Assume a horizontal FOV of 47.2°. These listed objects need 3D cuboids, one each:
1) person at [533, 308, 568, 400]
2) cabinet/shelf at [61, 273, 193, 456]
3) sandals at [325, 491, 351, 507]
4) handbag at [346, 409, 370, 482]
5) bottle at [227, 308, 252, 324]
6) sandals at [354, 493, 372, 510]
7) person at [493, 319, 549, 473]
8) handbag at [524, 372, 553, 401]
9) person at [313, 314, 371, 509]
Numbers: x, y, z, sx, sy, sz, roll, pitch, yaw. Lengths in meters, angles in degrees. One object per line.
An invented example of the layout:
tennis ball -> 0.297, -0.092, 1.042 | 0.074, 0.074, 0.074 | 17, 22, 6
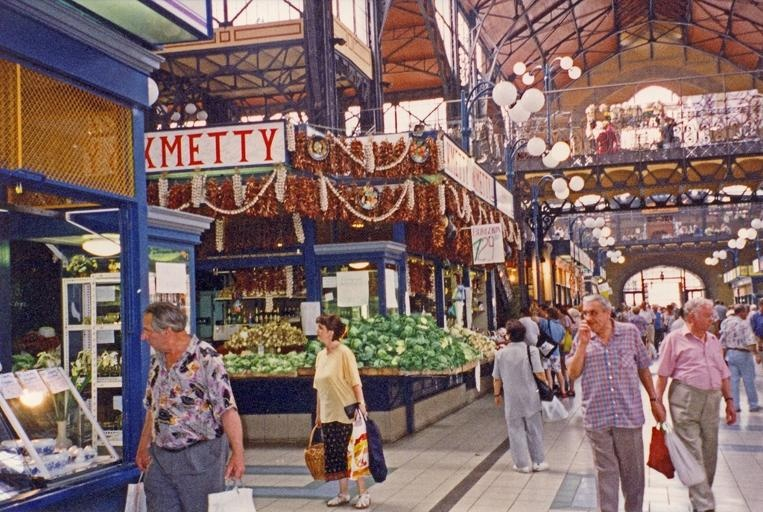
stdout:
person -> 3.244, 1.714, 16.135 | 0.706, 2.620, 0.761 | -3, -5, 9
cabinet/shelf -> -2.613, 1.103, 9.135 | 1.331, 1.694, 0.949 | -3, -5, 7
sandals -> -0.484, 2.751, 9.870 | 0.276, 0.132, 0.314 | -1, 1, -2
handbag -> -0.260, 2.111, 9.639 | 0.241, 0.785, 0.255 | -1, 1, -3
bottle -> -2.760, 1.182, 16.929 | 0.442, 0.376, 0.263 | 2, -2, 19
sandals -> -0.221, 2.726, 9.734 | 0.193, 0.166, 0.319 | -1, 1, -1
person -> 1.783, 1.829, 11.289 | 0.666, 1.939, 0.579 | -6, -2, 10
handbag -> 2.047, 1.679, 11.015 | 0.291, 0.352, 0.159 | -1, 1, -4
person -> -0.304, 1.756, 10.007 | 0.735, 1.998, 0.788 | -2, -2, 45
